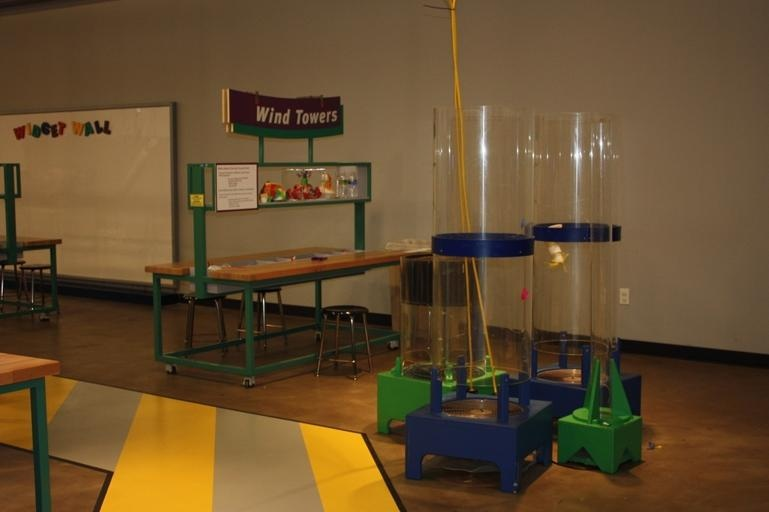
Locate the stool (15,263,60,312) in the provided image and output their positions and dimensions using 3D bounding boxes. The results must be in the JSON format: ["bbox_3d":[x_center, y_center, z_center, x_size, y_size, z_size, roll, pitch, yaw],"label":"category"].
[{"bbox_3d":[-5.434,0.505,10.056,0.694,0.824,0.673,0,-2,23],"label":"stool"}]

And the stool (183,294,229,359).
[{"bbox_3d":[-2.056,0.791,7.373,0.443,0.703,0.436,-1,0,-19],"label":"stool"}]

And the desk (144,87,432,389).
[{"bbox_3d":[-1.054,-0.333,7.259,1.990,2.978,2.598,4,10,26],"label":"desk"}]

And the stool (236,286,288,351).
[{"bbox_3d":[-1.515,0.748,7.919,0.537,0.773,0.561,2,2,27],"label":"stool"}]

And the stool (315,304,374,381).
[{"bbox_3d":[-0.438,0.905,6.877,0.540,0.696,0.535,2,5,2],"label":"stool"}]
